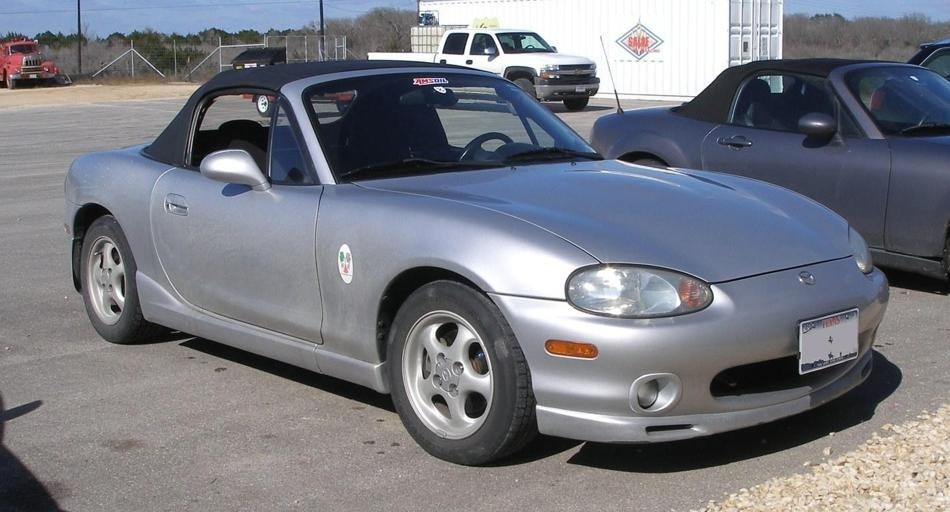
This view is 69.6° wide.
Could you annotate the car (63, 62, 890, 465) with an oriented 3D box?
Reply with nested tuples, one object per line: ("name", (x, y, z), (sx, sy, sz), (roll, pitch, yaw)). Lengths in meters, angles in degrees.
("car", (-0.520, -0.038, 5.417), (5.635, 1.794, 3.066), (8, 13, 35))

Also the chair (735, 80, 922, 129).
("chair", (3.854, -1.695, 7.515), (1.507, 0.429, 0.822), (8, 16, 38))
